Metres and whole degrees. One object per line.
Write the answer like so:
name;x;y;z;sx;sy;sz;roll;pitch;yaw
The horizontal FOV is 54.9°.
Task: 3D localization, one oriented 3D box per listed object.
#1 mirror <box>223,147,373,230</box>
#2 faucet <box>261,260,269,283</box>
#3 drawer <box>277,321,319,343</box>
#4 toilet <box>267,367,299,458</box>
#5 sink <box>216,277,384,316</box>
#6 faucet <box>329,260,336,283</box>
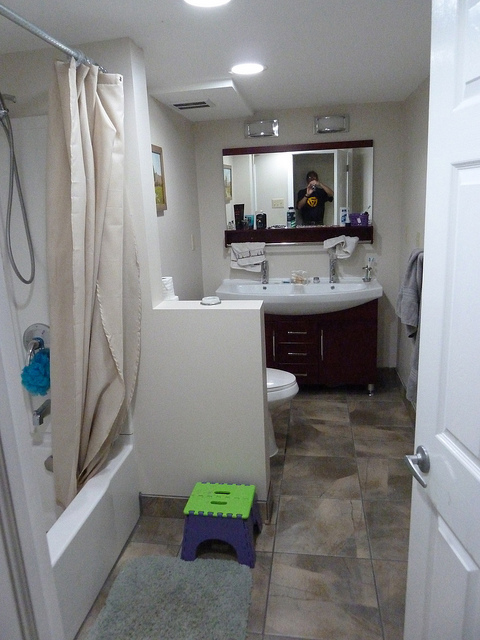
mirror;0.457;-1.053;3.730;1.187;0.587;0.069;0;9;8
faucet;0.215;-0.416;3.915;0.074;0.192;0.088;-3;10;-8
drawer;0.449;0.092;3.592;0.316;0.165;0.033;0;9;6
toilet;0.244;0.516;2.733;0.177;0.533;0.225;3;11;5
sink;0.460;-0.180;3.646;1.262;0.240;0.652;1;13;10
faucet;0.759;-0.405;3.810;0.047;0.183;0.043;2;10;17
